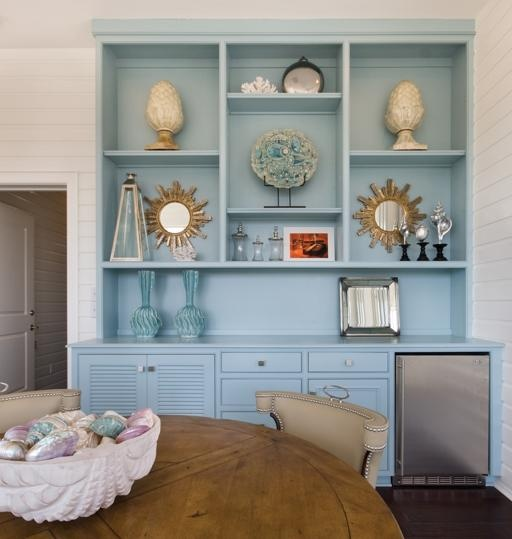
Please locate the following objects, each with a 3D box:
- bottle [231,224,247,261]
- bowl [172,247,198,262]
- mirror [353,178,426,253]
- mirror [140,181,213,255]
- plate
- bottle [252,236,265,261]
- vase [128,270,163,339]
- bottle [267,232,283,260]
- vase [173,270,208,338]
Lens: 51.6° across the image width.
[{"bbox_3d":[-0.107,-0.178,3.369,0.103,0.226,0.236,2,10,-3],"label":"bottle"},{"bbox_3d":[-0.434,-0.090,3.203,0.113,0.051,0.103,2,3,0],"label":"bowl"},{"bbox_3d":[0.885,-0.330,3.447,0.582,0.513,0.023,-1,-3,-4],"label":"mirror"},{"bbox_3d":[-0.519,-0.319,3.455,0.588,0.549,0.029,0,-3,-2],"label":"mirror"},{"bbox_3d":[0.181,-0.675,3.290,0.426,0.352,0.150,-1,7,0],"label":"plate"},{"bbox_3d":[0.017,-0.131,3.385,0.078,0.155,0.190,3,10,0],"label":"bottle"},{"bbox_3d":[-0.679,0.224,3.290,0.186,0.434,0.398,1,10,-10],"label":"vase"},{"bbox_3d":[0.128,-0.157,3.392,0.101,0.192,0.203,3,10,0],"label":"bottle"},{"bbox_3d":[-0.403,0.218,3.306,0.183,0.433,0.355,2,10,-3],"label":"vase"}]
